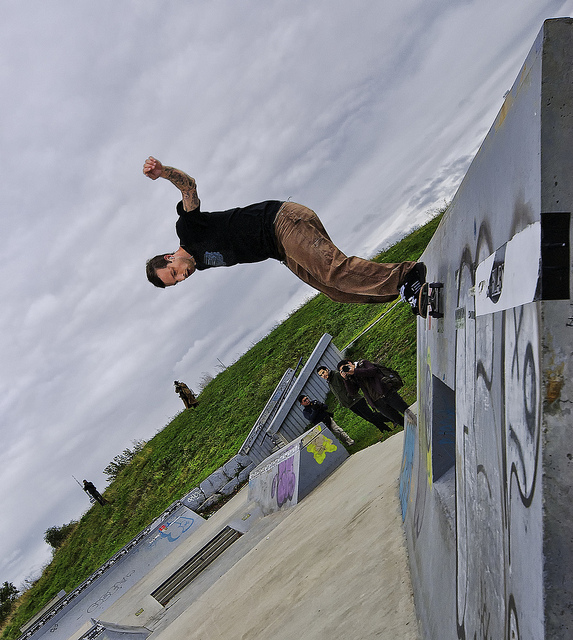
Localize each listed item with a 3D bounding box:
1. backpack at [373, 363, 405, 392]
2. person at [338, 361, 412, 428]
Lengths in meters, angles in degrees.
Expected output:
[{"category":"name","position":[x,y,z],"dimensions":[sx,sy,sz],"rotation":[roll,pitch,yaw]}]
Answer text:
[{"category":"backpack","position":[1.040,0.567,6.623],"dimensions":[0.131,0.339,0.311],"rotation":[-39,3,4]},{"category":"person","position":[0.954,0.772,6.730],"dimensions":[0.367,1.004,0.395],"rotation":[-42,0,1]}]
